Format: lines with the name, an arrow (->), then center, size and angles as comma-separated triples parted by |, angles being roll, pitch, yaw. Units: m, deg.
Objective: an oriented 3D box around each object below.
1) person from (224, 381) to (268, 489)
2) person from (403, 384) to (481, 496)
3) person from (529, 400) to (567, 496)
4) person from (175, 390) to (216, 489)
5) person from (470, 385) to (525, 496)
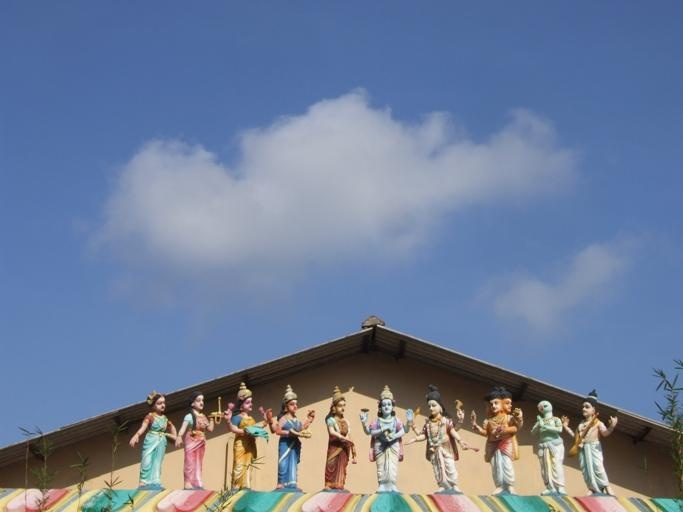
person -> -2.019, 3.806, 35.039 | 0.746, 2.423, 0.652 | -3, -17, 2
person -> 2.149, 3.852, 35.286 | 1.014, 2.646, 0.957 | -7, -24, 14
person -> 4.318, 3.995, 35.192 | 0.688, 1.964, 0.593 | -10, -15, 41
person -> -3.050, 3.881, 35.132 | 0.907, 1.921, 0.465 | 4, -8, -20
person -> 3.246, 3.798, 34.941 | 0.988, 2.221, 0.754 | -6, -17, 20
